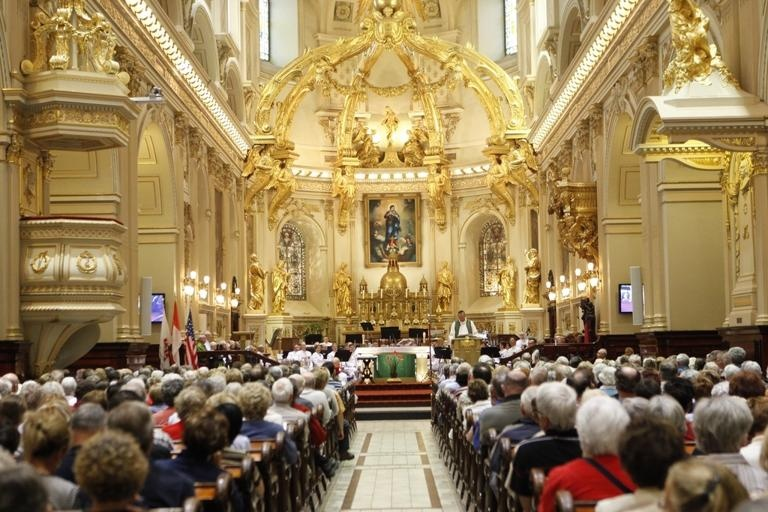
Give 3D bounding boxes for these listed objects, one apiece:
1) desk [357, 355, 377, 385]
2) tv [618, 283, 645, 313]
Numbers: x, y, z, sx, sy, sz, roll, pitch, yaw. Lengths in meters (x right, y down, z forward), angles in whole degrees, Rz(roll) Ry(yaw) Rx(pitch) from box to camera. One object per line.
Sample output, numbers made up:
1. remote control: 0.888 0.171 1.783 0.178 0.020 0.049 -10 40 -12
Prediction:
1. desk: -0.518 3.640 23.598 0.730 0.773 0.752 0 -1 2
2. tv: 6.434 1.048 18.813 0.842 1.007 0.132 0 -4 1
